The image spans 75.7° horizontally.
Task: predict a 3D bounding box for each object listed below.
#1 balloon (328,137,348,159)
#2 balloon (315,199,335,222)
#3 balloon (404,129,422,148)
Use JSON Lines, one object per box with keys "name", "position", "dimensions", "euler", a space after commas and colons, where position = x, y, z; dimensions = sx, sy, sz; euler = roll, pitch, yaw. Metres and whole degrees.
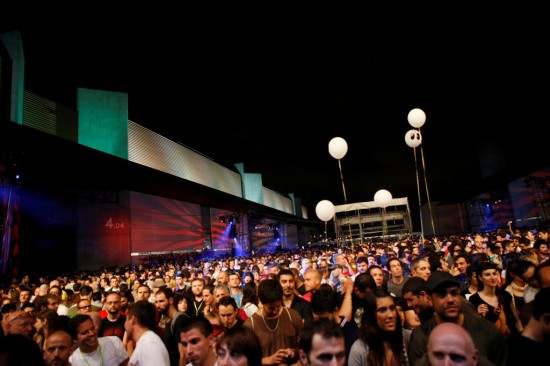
{"name": "balloon", "position": [2.452, -1.354, 13.812], "dimensions": [0.617, 0.781, 0.619], "euler": [-8, -17, 16]}
{"name": "balloon", "position": [2.366, 1.265, 16.956], "dimensions": [0.821, 0.866, 1.443], "euler": [-9, -18, 16]}
{"name": "balloon", "position": [5.469, -1.875, 13.991], "dimensions": [0.509, 0.699, 0.868], "euler": [-9, -17, 18]}
